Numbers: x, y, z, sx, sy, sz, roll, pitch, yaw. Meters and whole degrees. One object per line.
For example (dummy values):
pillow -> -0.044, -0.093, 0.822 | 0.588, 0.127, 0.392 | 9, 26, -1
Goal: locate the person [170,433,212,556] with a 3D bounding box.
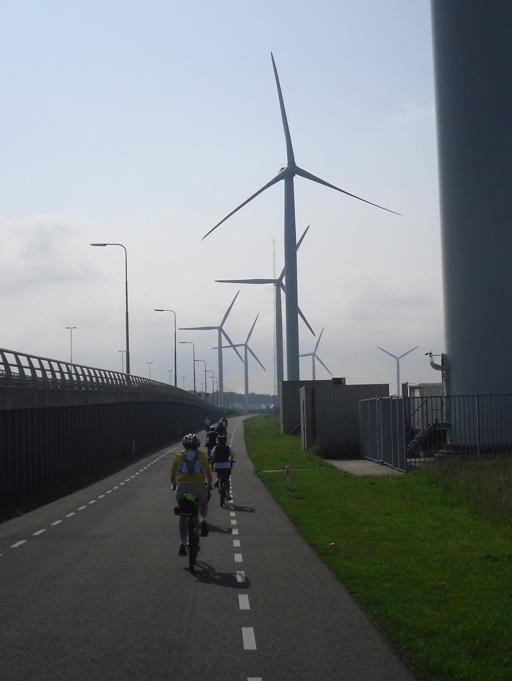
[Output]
person -> -1.047, 2.356, 12.764 | 0.692, 1.145, 1.656 | 0, 0, -1

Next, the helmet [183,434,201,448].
helmet -> -1.086, 1.727, 13.088 | 0.216, 0.353, 0.316 | 2, 1, 11

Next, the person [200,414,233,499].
person -> -0.949, 3.291, 21.491 | 0.814, 1.435, 1.985 | -1, 0, -1

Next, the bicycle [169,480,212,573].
bicycle -> -0.990, 2.938, 12.389 | 0.511, 1.272, 1.179 | -2, -3, -5
